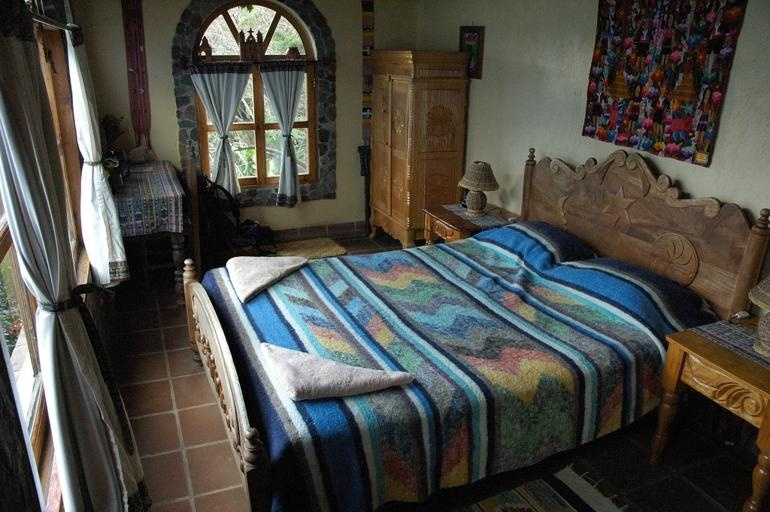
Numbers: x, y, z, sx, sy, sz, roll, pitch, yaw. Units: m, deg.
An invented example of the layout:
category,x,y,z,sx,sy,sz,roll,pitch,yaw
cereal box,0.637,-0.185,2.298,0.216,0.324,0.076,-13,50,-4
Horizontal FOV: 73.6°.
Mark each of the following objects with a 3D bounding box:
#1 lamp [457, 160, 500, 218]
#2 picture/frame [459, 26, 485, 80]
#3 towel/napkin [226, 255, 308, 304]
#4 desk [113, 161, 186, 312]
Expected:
category,x,y,z,sx,sy,sz,roll,pitch,yaw
lamp,0.970,-0.703,5.301,0.382,0.540,0.391,0,23,-7
picture/frame,0.942,-2.261,5.684,0.350,0.515,0.038,-9,17,-29
towel/napkin,-0.949,0.126,4.019,0.403,0.099,0.417,-7,19,-25
desk,-2.623,-0.096,5.813,0.674,1.104,1.678,0,6,-22
